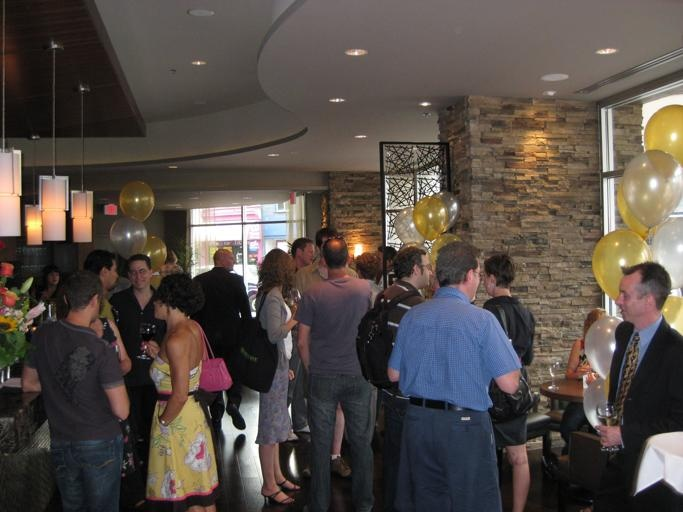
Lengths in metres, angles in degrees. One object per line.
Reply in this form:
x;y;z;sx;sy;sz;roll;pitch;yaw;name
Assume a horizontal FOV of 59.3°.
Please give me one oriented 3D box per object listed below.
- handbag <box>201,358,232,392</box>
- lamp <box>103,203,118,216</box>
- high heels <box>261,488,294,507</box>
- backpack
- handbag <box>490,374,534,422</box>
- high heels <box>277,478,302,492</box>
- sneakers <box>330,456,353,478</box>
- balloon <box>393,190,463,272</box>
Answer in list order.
-0.896;0.865;4.262;0.216;0.250;0.236;0;0;-12;handbag
-5.436;-1.125;14.128;0.397;0.422;0.228;0;-3;-5;lamp
-0.529;2.072;5.137;0.216;0.097;0.127;-2;-2;11;high heels
0.357;0.600;4.410;0.422;0.728;0.513;5;10;4;backpack
1.206;1.062;4.368;0.379;0.344;0.200;0;0;-22;handbag
-0.463;2.044;5.349;0.217;0.098;0.084;4;-1;-2;high heels
0.031;1.975;5.600;0.257;0.200;0.095;0;-2;22;sneakers
1.031;-0.294;7.463;0.851;0.917;0.777;-9;-1;-3;balloon
